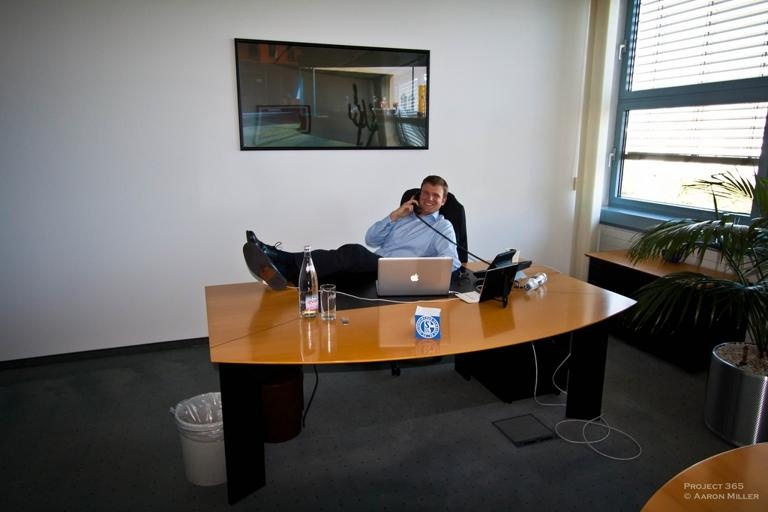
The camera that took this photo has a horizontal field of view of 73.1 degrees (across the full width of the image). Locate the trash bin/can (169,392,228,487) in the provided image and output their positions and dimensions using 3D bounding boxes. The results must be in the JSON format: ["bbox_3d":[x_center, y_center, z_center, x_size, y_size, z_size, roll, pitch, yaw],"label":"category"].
[{"bbox_3d":[-1.217,1.246,3.494,0.343,0.331,0.322,-26,-1,-2],"label":"trash bin/can"}]

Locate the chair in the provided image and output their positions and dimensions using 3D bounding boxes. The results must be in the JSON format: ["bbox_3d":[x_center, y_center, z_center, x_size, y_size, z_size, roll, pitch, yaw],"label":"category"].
[{"bbox_3d":[0.365,-0.289,4.626,0.524,0.760,0.632,0,3,5],"label":"chair"}]

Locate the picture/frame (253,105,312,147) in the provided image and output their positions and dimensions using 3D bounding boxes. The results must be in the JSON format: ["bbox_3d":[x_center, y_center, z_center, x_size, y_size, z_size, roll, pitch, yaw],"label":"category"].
[{"bbox_3d":[-0.953,-1.222,4.821,0.525,0.354,0.069,-2,17,-6],"label":"picture/frame"}]

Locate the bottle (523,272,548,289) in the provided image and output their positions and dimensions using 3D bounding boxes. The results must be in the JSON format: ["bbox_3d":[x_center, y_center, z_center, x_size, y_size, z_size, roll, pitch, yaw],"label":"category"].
[{"bbox_3d":[1.128,0.185,3.847,0.079,0.083,0.249,-10,8,43],"label":"bottle"}]
